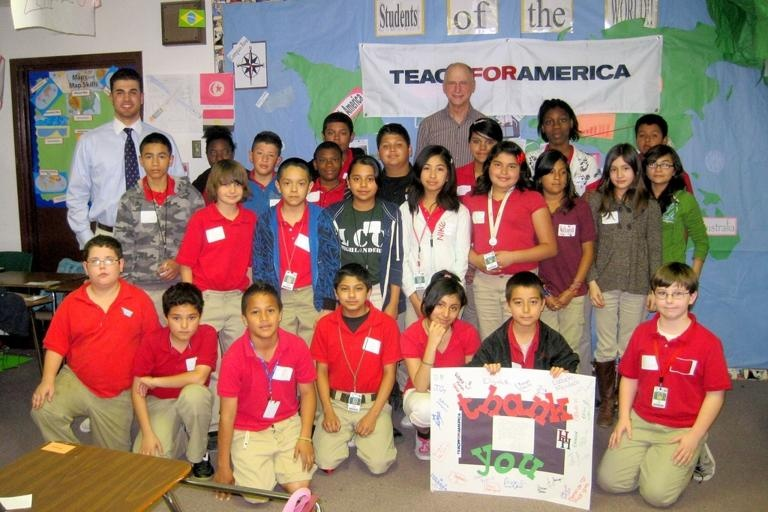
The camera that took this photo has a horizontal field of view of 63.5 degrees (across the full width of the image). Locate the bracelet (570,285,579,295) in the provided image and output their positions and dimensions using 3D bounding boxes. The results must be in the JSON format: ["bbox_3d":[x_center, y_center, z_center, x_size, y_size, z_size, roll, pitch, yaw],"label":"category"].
[{"bbox_3d":[1.644,0.289,5.323,0.046,0.075,0.068,7,7,11],"label":"bracelet"}]

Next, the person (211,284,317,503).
[{"bbox_3d":[-0.879,1.009,4.572,0.743,1.592,0.395,-1,10,-6],"label":"person"}]

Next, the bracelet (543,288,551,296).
[{"bbox_3d":[1.418,0.322,5.379,0.018,0.072,0.075,-34,21,-24],"label":"bracelet"}]

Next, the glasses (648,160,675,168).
[{"bbox_3d":[2.426,-0.806,5.395,0.225,0.104,0.069,-1,10,-8],"label":"glasses"}]

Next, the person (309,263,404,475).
[{"bbox_3d":[-0.215,0.879,4.864,0.708,1.600,0.432,-1,10,-6],"label":"person"}]

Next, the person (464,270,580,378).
[{"bbox_3d":[1.114,0.531,4.969,1.137,0.944,0.696,0,8,9],"label":"person"}]

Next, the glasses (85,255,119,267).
[{"bbox_3d":[-2.155,0.035,4.737,0.218,0.078,0.055,-3,10,-20],"label":"glasses"}]

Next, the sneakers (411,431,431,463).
[{"bbox_3d":[0.309,1.541,5.000,0.107,0.091,0.232,0,2,-7],"label":"sneakers"}]

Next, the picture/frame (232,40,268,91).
[{"bbox_3d":[-1.452,-2.107,6.768,0.550,0.695,0.053,-1,1,4],"label":"picture/frame"}]

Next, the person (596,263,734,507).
[{"bbox_3d":[2.076,0.929,4.552,0.831,1.739,0.514,5,11,27],"label":"person"}]

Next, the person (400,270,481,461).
[{"bbox_3d":[0.461,0.880,4.932,0.555,1.499,0.424,-8,12,-37],"label":"person"}]
